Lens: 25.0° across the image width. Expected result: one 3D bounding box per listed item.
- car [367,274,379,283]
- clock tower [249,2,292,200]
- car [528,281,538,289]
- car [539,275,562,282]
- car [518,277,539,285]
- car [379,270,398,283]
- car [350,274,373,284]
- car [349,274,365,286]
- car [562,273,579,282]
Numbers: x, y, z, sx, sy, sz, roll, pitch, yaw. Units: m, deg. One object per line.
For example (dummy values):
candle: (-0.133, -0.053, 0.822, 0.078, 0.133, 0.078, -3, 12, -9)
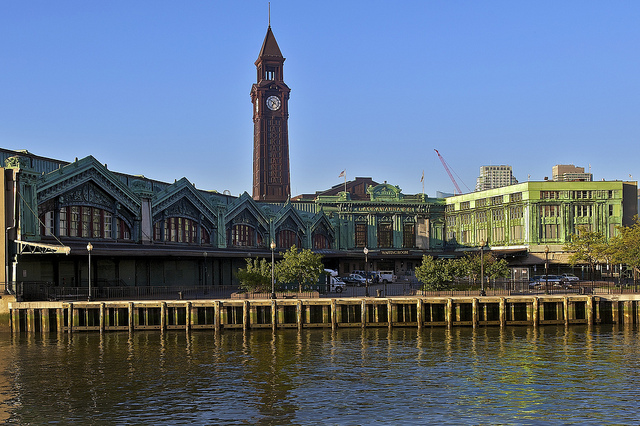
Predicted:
car: (7.248, 8.878, 196.743, 1.073, 1.697, 1.025, 3, -7, -33)
clock tower: (-11.319, -23.636, 329.762, 7.875, 41.814, 12.968, -4, -6, -3)
car: (25.285, 8.428, 169.757, 0.900, 1.026, 8.616, -5, -5, 7)
car: (29.091, 8.256, 181.819, 2.104, 0.865, 1.119, -4, 1, -6)
car: (26.307, 8.758, 182.098, 2.776, 1.156, 1.529, -2, -2, 15)
car: (9.466, 8.688, 197.238, 2.206, 1.011, 1.296, 2, -2, -3)
car: (5.335, 8.498, 183.158, 2.512, 0.746, 1.110, 11, 1, 17)
car: (4.919, 8.401, 182.395, 1.686, 1.603, 5.347, -4, -5, 0)
car: (32.307, 8.167, 184.997, 1.041, 0.788, 2.008, -1, -4, -13)
